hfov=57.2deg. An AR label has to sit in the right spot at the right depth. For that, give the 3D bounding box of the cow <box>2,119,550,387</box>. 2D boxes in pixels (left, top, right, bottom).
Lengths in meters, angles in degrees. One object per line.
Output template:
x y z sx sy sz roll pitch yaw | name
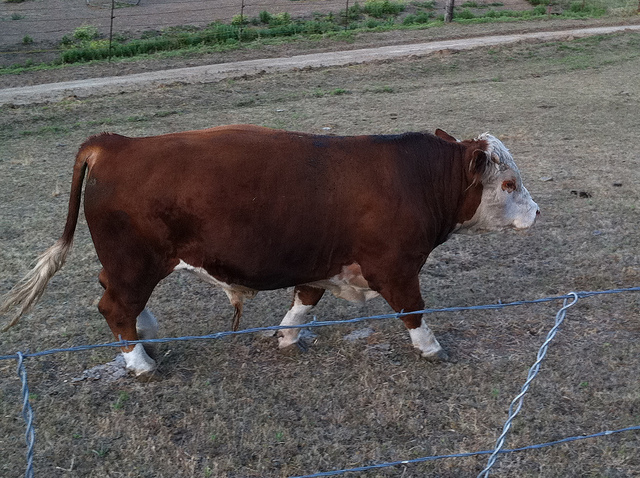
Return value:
-0.392 -0.081 5.564 4.954 2.053 2.689 -8 28 -14 | cow
